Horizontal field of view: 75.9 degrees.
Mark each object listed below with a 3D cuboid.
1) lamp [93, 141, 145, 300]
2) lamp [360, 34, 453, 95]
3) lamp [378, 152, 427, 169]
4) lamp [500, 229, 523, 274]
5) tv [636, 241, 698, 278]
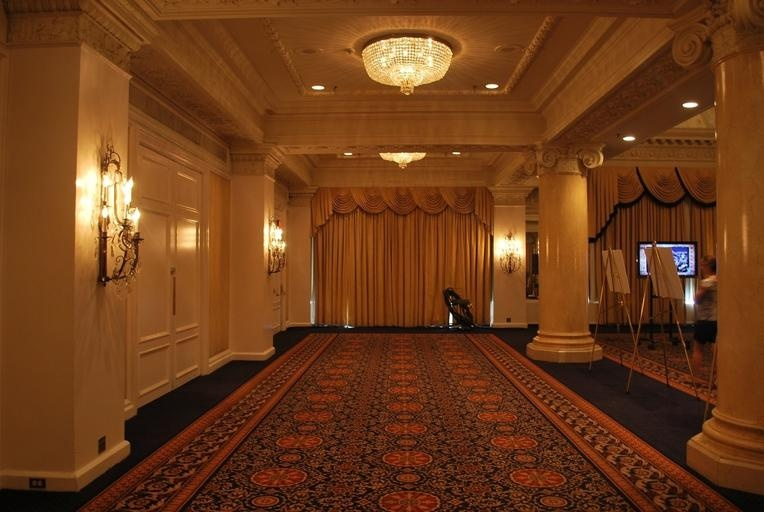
[{"bbox_3d":[-2.530,-0.403,4.771,0.329,1.373,0.482,-1,4,-9],"label":"lamp"},{"bbox_3d":[0.361,-2.606,6.869,1.329,0.571,1.361,7,10,42],"label":"lamp"},{"bbox_3d":[0.459,-2.202,11.068,0.521,0.198,0.538,-4,-2,31],"label":"lamp"},{"bbox_3d":[3.423,-0.102,12.959,0.565,1.085,0.206,1,4,7],"label":"lamp"},{"bbox_3d":[5.856,0.063,9.924,0.937,0.616,0.101,0,-3,5],"label":"tv"}]
